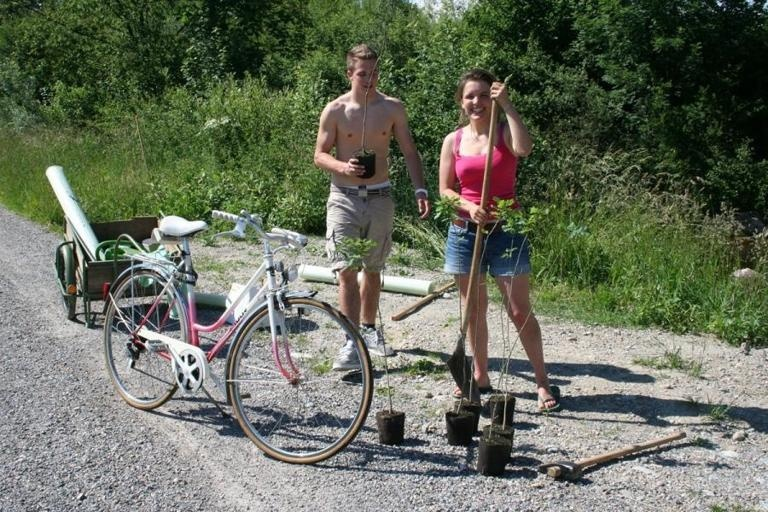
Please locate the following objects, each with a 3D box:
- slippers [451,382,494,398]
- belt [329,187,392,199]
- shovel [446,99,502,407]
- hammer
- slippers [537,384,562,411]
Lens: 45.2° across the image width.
[{"bbox_3d":[1.110,1.675,11.356,0.548,0.248,0.207,4,1,-7],"label":"slippers"},{"bbox_3d":[-0.296,-0.832,11.858,0.750,0.125,0.142,3,17,-5],"label":"belt"},{"bbox_3d":[1.081,-0.088,10.985,0.360,3.449,0.905,6,16,12],"label":"shovel"},{"bbox_3d":[2.758,2.312,10.746,2.076,0.259,0.579,-16,12,-19],"label":"hammer"},{"bbox_3d":[2.013,1.739,11.300,0.208,0.300,0.672,-2,-7,7],"label":"slippers"}]
